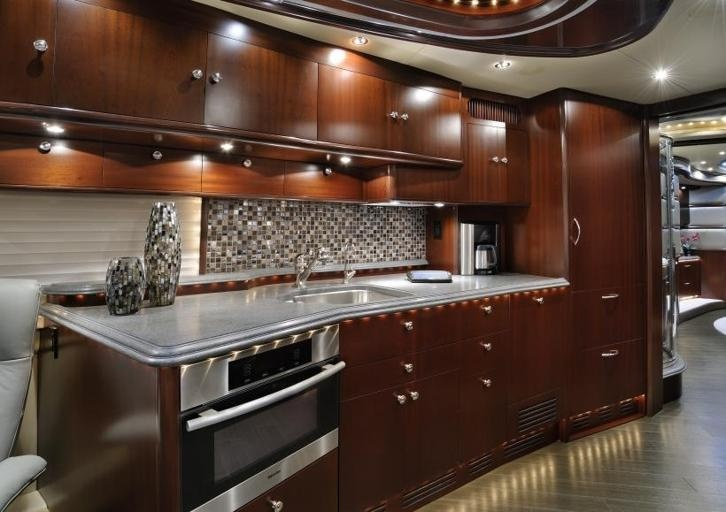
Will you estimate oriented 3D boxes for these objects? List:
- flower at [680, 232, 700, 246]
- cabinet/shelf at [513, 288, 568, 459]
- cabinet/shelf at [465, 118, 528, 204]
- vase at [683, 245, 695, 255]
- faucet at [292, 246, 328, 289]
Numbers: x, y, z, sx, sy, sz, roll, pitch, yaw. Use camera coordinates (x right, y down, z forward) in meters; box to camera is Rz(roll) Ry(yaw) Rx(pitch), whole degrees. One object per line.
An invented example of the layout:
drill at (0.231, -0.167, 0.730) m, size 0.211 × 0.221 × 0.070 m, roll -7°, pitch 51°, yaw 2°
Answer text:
flower at (5.838, -0.301, 8.854) m, size 0.127 × 0.248 × 0.247 m, roll 4°, pitch -3°, yaw -22°
cabinet/shelf at (1.369, 0.796, 3.845) m, size 0.780 × 1.035 × 0.257 m, roll -12°, pitch 16°, yaw -38°
cabinet/shelf at (1.098, -0.788, 4.153) m, size 0.667 × 0.644 × 0.260 m, roll 5°, pitch -7°, yaw -32°
vase at (5.701, -0.095, 8.702) m, size 0.166 × 0.165 × 0.091 m, roll 0°, pitch 3°, yaw -8°
faucet at (-0.381, 0.076, 3.705) m, size 0.235 × 0.254 × 0.434 m, roll 1°, pitch 14°, yaw 11°
